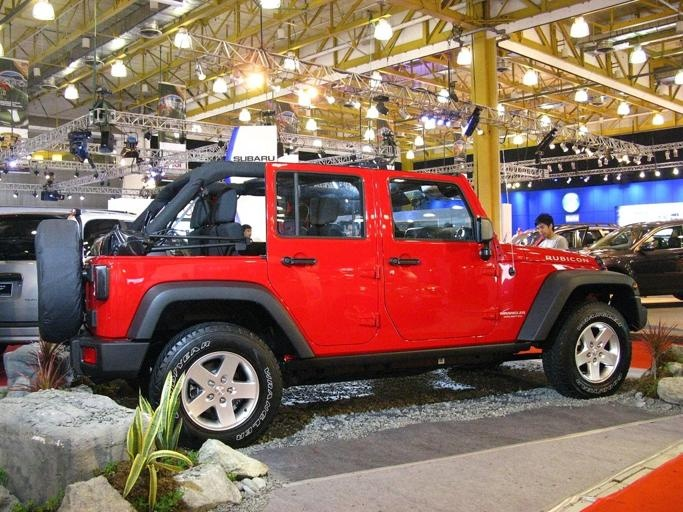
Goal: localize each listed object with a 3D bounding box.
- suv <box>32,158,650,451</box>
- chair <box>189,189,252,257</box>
[{"bbox_3d":[0.140,0.200,4.595,5.009,1.543,2.170,-2,1,-22],"label":"suv"},{"bbox_3d":[-1.026,-0.270,3.997,0.410,0.569,0.759,5,-5,-41],"label":"chair"}]
